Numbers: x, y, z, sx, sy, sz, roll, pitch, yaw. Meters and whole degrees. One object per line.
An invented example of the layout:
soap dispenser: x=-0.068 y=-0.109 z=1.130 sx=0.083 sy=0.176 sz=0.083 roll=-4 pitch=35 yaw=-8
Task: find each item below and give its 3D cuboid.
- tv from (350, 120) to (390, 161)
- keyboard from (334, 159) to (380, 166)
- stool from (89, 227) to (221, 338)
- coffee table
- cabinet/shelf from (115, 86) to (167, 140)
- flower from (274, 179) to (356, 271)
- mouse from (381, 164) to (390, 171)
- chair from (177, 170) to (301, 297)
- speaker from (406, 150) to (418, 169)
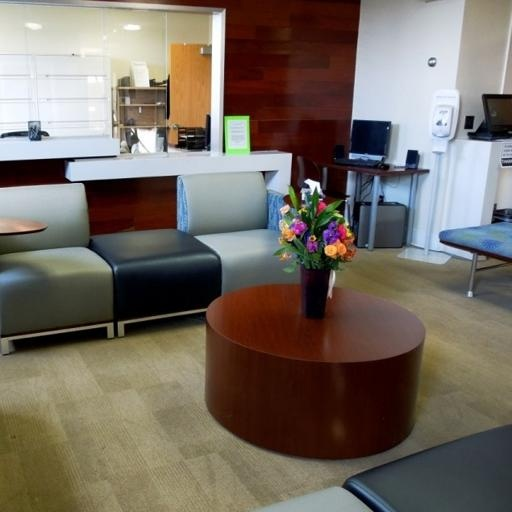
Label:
tv: x=1.341 y=-1.354 z=5.112 sx=0.061 sy=0.453 sz=0.484 roll=-2 pitch=13 yaw=-36
keyboard: x=1.124 y=-1.036 z=4.891 sx=0.524 sy=0.084 sz=0.315 roll=6 pitch=13 yaw=21
stool: x=-0.724 y=0.012 z=2.997 sx=0.679 sy=0.503 sz=0.676 roll=-9 pitch=20 yaw=-37
coffee table: x=0.226 y=0.485 z=1.932 sx=0.956 sy=0.474 sz=0.696 roll=5 pitch=12 yaw=16
cabinet/shelf: x=-1.438 y=-1.773 z=5.422 sx=0.718 sy=0.629 sz=0.222 roll=7 pitch=13 yaw=26
flower: x=0.260 y=-0.116 z=1.902 sx=0.329 sy=0.337 sz=0.307 roll=3 pitch=12 yaw=8
mouse: x=1.407 y=-0.972 z=4.770 sx=0.084 sy=0.058 sz=0.271 roll=5 pitch=13 yaw=18
chair: x=-0.089 y=-0.223 z=3.531 sx=0.844 sy=1.074 sz=0.929 roll=-4 pitch=11 yaw=-22
speaker: x=1.715 y=-1.062 z=4.810 sx=0.134 sy=0.201 sz=0.100 roll=5 pitch=12 yaw=20
